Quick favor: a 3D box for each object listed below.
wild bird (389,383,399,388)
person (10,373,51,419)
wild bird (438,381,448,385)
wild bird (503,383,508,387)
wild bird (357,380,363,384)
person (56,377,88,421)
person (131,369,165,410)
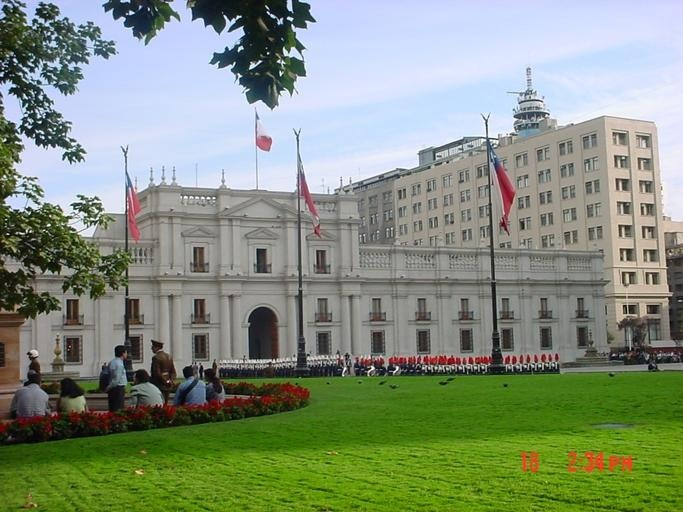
[{"bbox_3d":[2.111,5.084,34.702,0.171,0.198,0.533,-4,-11,10],"label":"wild bird"},{"bbox_3d":[-7.704,3.474,22.024,0.904,1.056,0.889,0,-10,-24],"label":"person"},{"bbox_3d":[4.147,5.120,35.592,0.118,0.140,0.378,-3,-4,-39],"label":"wild bird"},{"bbox_3d":[6.261,4.878,33.433,0.225,0.160,0.177,2,-2,4],"label":"wild bird"},{"bbox_3d":[0.901,5.789,40.869,0.303,0.117,0.384,-1,-3,2],"label":"wild bird"},{"bbox_3d":[-6.862,3.549,22.593,0.720,0.932,1.096,-1,-9,-17],"label":"person"},{"bbox_3d":[-5.239,3.532,23.863,0.814,1.049,1.556,-2,-9,-13],"label":"person"}]
